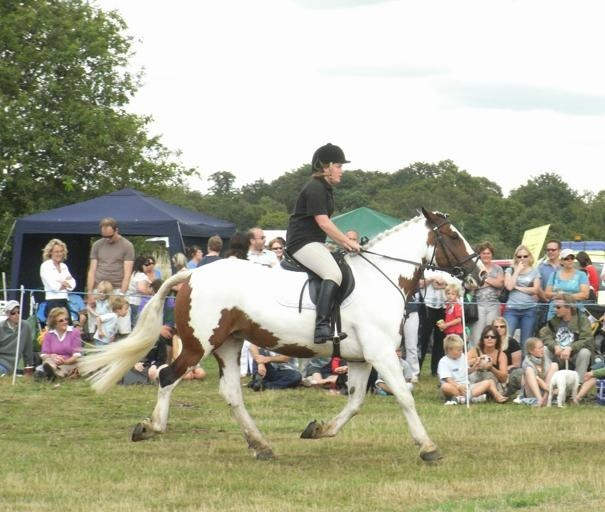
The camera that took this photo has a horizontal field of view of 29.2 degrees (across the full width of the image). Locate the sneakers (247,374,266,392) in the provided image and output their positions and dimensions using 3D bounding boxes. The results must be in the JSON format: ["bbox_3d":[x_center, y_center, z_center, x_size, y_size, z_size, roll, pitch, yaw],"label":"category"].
[{"bbox_3d":[-0.918,2.367,21.716,0.517,0.252,0.150,2,2,33],"label":"sneakers"}]

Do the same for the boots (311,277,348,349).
[{"bbox_3d":[0.372,0.789,16.835,0.392,0.901,0.196,-2,9,-14],"label":"boots"}]

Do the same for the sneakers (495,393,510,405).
[{"bbox_3d":[3.556,2.527,20.638,0.105,0.154,0.373,7,-23,-4],"label":"sneakers"}]

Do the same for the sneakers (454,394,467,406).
[{"bbox_3d":[2.790,2.533,20.454,0.168,0.135,0.118,-8,10,-19],"label":"sneakers"}]

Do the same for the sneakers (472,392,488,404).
[{"bbox_3d":[3.210,2.515,20.660,0.424,0.203,0.114,3,-2,-28],"label":"sneakers"}]

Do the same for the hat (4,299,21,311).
[{"bbox_3d":[-5.541,0.918,22.178,0.254,0.155,0.345,1,-10,-36],"label":"hat"}]
